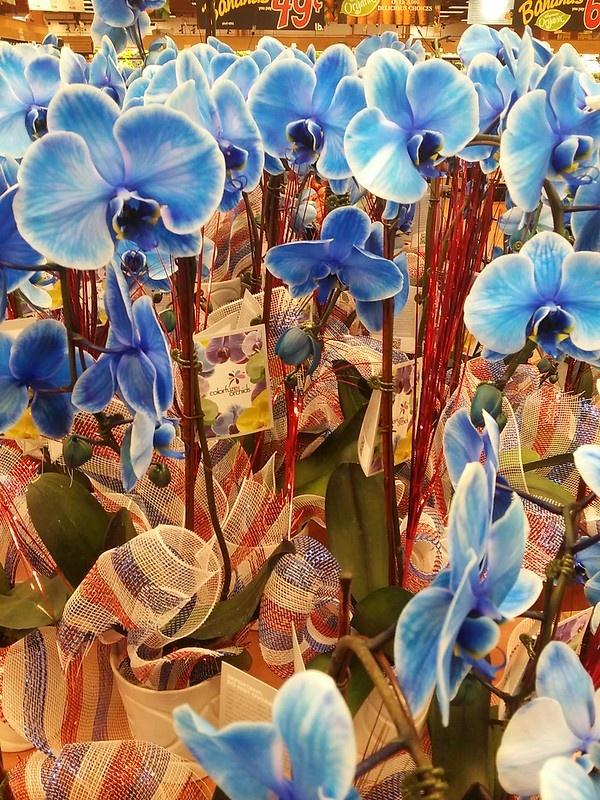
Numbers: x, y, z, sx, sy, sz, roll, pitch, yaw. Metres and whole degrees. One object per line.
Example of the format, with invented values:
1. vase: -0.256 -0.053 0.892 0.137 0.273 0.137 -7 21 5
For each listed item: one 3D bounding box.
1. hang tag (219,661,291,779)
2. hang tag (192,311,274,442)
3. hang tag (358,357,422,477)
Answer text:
1. hang tag: -0.034 0.211 0.385 0.020 0.079 0.056 -11 30 -28
2. hang tag: -0.074 -0.015 0.634 0.094 0.149 0.014 -11 37 -18
3. hang tag: 0.098 0.017 0.611 0.036 0.116 0.100 21 43 22
